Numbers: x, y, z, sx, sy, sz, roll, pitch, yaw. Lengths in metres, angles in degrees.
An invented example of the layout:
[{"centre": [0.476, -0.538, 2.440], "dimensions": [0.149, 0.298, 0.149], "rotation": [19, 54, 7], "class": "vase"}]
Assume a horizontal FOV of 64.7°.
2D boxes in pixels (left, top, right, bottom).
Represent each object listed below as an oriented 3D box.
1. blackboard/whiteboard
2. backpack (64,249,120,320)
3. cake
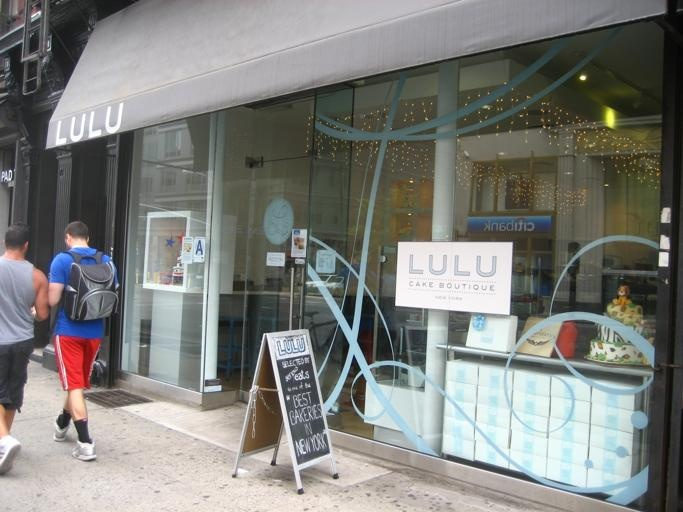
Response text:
[{"centre": [-0.380, 1.285, 4.879], "dimensions": [0.407, 1.172, 0.572], "rotation": [2, 1, 42], "class": "blackboard/whiteboard"}, {"centre": [-2.432, 0.300, 5.241], "dimensions": [0.356, 0.651, 0.453], "rotation": [11, 12, 33], "class": "backpack"}, {"centre": [2.218, 0.540, 4.276], "dimensions": [0.444, 0.699, 0.097], "rotation": [2, 1, 28], "class": "cake"}]
